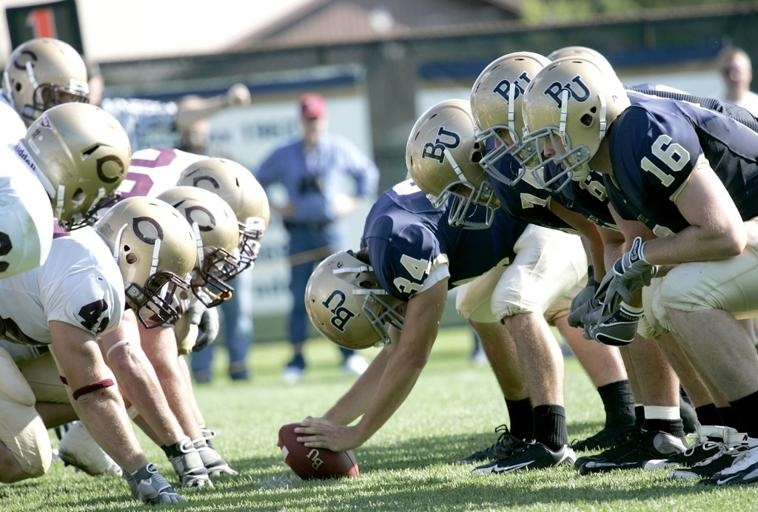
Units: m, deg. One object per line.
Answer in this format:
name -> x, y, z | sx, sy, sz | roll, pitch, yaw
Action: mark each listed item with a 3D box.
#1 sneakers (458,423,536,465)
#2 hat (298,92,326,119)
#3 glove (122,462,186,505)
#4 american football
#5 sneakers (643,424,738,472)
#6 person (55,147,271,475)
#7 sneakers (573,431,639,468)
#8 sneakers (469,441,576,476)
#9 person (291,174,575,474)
sneakers -> 0.579, 0.925, 5.163 | 0.424, 0.189, 0.138 | -9, -8, -9
hat -> -0.562, -1.275, 9.103 | 0.199, 0.258, 0.244 | 0, 1, -3
glove -> -0.983, 1.001, 4.760 | 0.340, 0.161, 0.119 | 11, 18, 24
american football -> -0.294, 0.936, 5.082 | 0.293, 0.185, 0.229 | 19, -5, -1
sneakers -> 1.324, 0.841, 4.652 | 0.463, 0.210, 0.153 | -12, -8, 13
person -> -1.211, 0.204, 5.729 | 0.647, 1.855, 1.336 | 7, 1, -7
sneakers -> 1.024, 0.893, 4.876 | 0.375, 0.167, 0.128 | -5, 6, -20
sneakers -> 0.689, 0.944, 4.974 | 0.528, 0.178, 0.174 | 0, -13, -6
person -> 0.501, 0.333, 5.415 | 1.959, 1.393, 0.937 | -1, -6, -27
